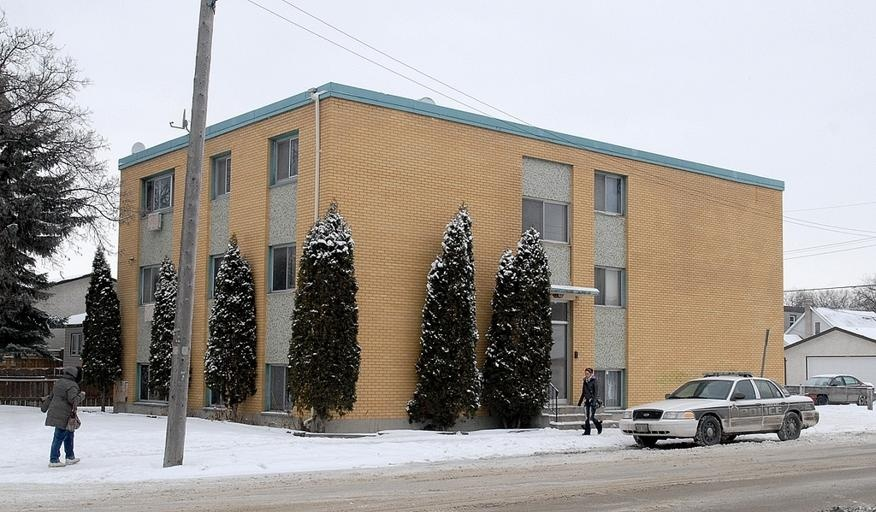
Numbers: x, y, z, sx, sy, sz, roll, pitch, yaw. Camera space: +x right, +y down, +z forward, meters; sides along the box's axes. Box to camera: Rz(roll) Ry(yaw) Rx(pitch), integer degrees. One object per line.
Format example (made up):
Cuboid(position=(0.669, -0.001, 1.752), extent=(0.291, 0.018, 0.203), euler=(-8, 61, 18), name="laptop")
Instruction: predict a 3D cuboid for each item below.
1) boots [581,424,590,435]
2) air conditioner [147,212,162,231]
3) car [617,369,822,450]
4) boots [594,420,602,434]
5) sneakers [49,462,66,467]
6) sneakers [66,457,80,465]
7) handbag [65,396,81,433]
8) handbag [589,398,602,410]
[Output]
Cuboid(position=(5.726, 6.673, 33.105), extent=(0.379, 0.431, 0.454), euler=(17, -20, -41), name="boots")
Cuboid(position=(-13.149, -1.615, 39.764), extent=(0.834, 0.743, 0.278), euler=(-11, -15, 38), name="air conditioner")
Cuboid(position=(10.471, 5.483, 31.082), extent=(6.656, 2.001, 2.738), euler=(6, -12, -34), name="car")
Cuboid(position=(6.171, 6.555, 32.936), extent=(0.257, 0.546, 0.798), euler=(-2, -15, 9), name="boots")
Cuboid(position=(-11.294, 6.127, 25.358), extent=(0.481, 0.219, 0.162), euler=(0, -4, -13), name="sneakers")
Cuboid(position=(-10.889, 6.075, 25.551), extent=(0.443, 0.207, 0.157), euler=(-6, -1, -7), name="sneakers")
Cuboid(position=(-10.896, 4.752, 25.583), extent=(0.325, 0.881, 0.650), euler=(7, -16, -23), name="handbag")
Cuboid(position=(6.146, 5.662, 33.141), extent=(0.648, 0.333, 0.895), euler=(-1, -8, 6), name="handbag")
